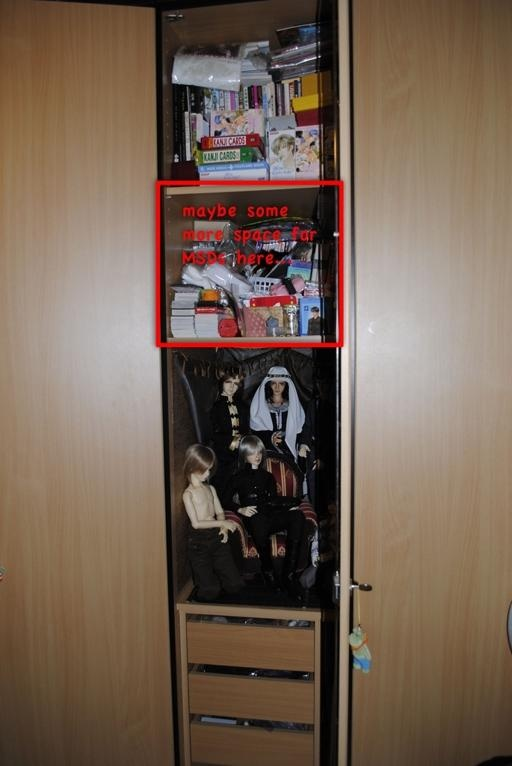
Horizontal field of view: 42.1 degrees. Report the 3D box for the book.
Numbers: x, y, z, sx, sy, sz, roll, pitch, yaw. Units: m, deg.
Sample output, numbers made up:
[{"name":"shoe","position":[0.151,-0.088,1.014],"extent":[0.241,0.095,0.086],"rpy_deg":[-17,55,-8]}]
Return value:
[{"name":"book","position":[-0.016,-0.777,1.931],"extent":[0.405,0.490,0.105],"rpy_deg":[-1,-10,3]}]
